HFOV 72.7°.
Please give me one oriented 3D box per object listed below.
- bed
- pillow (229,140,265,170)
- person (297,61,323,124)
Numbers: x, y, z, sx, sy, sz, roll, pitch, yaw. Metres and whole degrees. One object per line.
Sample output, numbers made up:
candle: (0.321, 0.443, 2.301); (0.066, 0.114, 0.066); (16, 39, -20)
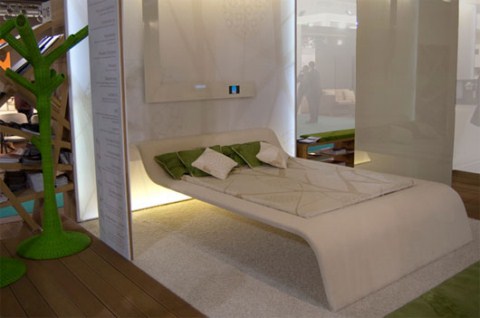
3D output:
bed: (0.653, 0.441, 3.379); (1.455, 0.635, 2.284); (-16, 26, -37)
pillow: (0.110, -0.108, 4.854); (0.412, 0.445, 0.081); (-8, 40, -13)
person: (1.155, -1.112, 5.418); (0.126, 0.977, 0.512); (-7, 16, -22)
